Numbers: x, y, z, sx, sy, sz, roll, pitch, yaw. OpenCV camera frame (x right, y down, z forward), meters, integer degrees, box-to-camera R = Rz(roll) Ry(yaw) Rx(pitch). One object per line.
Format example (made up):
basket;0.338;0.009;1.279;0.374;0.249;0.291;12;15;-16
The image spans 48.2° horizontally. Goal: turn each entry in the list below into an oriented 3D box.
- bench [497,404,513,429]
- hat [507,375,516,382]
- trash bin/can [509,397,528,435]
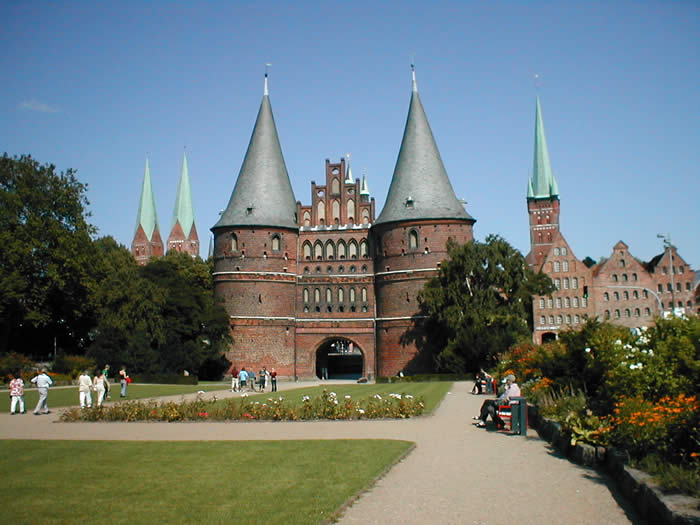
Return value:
bench;4.434;4.387;22.363;0.409;0.401;0.585;0;0;5
hat;4.671;3.345;22.713;0.190;0.129;0.199;0;-8;2
trash bin/can;4.659;4.197;21.609;0.373;0.963;0.830;-1;-4;7
